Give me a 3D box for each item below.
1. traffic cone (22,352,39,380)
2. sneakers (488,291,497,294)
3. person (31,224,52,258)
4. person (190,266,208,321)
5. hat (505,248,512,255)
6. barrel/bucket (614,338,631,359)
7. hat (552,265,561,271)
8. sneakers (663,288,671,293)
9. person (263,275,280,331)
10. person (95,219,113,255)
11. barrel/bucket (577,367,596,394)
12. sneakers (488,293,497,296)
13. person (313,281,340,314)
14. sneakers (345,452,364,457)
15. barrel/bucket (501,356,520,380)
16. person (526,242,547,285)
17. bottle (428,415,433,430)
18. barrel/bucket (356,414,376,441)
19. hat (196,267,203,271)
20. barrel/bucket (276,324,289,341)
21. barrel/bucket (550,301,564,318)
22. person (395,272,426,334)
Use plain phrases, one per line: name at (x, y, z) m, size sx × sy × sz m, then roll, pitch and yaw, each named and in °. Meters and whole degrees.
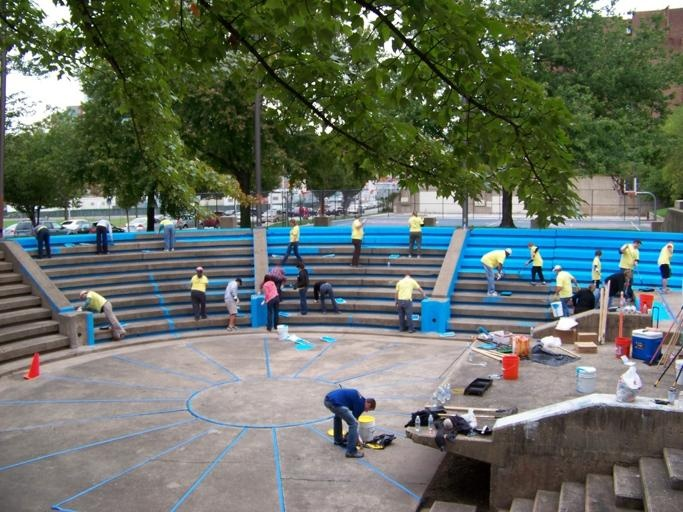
traffic cone at (-8.424, 2.806, 18.008) m, size 0.391 × 0.701 × 1.124 m, roll -6°, pitch 11°, yaw -25°
sneakers at (5.241, 1.236, 22.803) m, size 0.292 × 0.126 × 0.109 m, roll -3°, pitch 17°, yaw -1°
person at (-10.385, -0.510, 23.141) m, size 0.443 × 1.058 × 0.775 m, roll -5°, pitch 11°, yaw -24°
person at (-4.851, 1.221, 22.687) m, size 0.512 × 1.852 × 0.890 m, roll -3°, pitch 11°, yaw -13°
hat at (5.843, -0.181, 23.074) m, size 0.155 × 0.222 × 0.170 m, roll 16°, pitch 62°, yaw 50°
barrel/bucket at (6.832, 2.182, 16.000) m, size 0.356 × 0.439 × 0.365 m, roll -1°, pitch 10°, yaw 0°
hat at (7.132, 0.381, 21.770) m, size 0.248 × 0.130 × 0.347 m, roll -13°, pitch -1°, yaw 15°
sneakers at (11.038, 1.132, 22.404) m, size 0.131 × 0.170 × 0.388 m, roll 5°, pitch 11°, yaw 44°
person at (-2.383, 1.550, 22.629) m, size 0.547 × 1.964 × 0.951 m, roll -2°, pitch 11°, yaw -7°
person at (-8.790, -0.709, 24.454) m, size 0.563 × 1.180 × 0.875 m, roll -2°, pitch 11°, yaw -8°
barrel/bucket at (5.123, 2.543, 13.806) m, size 0.372 × 0.485 × 0.398 m, roll -1°, pitch 10°, yaw 0°
sneakers at (5.214, 1.285, 22.717) m, size 0.283 × 0.124 × 0.111 m, roll -1°, pitch 12°, yaw 2°
person at (-0.591, 1.274, 23.744) m, size 0.526 × 0.631 × 1.493 m, roll -6°, pitch 21°, yaw -9°
sneakers at (0.287, 3.937, 13.333) m, size 0.361 × 0.157 × 0.124 m, roll -1°, pitch -1°, yaw -4°
barrel/bucket at (3.755, 2.455, 14.805) m, size 0.446 × 0.468 × 0.451 m, roll 0°, pitch -2°, yaw 0°
person at (6.926, 0.113, 23.331) m, size 0.597 × 1.455 × 2.114 m, roll 3°, pitch 11°, yaw 18°
bottle at (1.714, 3.110, 12.561) m, size 0.103 × 0.282 × 0.243 m, roll 1°, pitch 10°, yaw 7°
barrel/bucket at (0.557, 3.591, 13.985) m, size 0.395 × 0.385 × 0.400 m, roll 0°, pitch -4°, yaw 0°
hat at (-4.942, 0.419, 23.189) m, size 0.139 × 0.089 × 0.140 m, roll 3°, pitch -1°, yaw 38°
barrel/bucket at (-1.896, 2.443, 21.706) m, size 0.394 × 0.399 × 0.415 m, roll 0°, pitch 4°, yaw 0°
barrel/bucket at (6.498, 1.560, 19.891) m, size 0.470 × 0.574 × 0.570 m, roll -3°, pitch 2°, yaw 17°
person at (2.189, 1.536, 21.947) m, size 0.644 × 1.873 × 0.627 m, roll 0°, pitch 11°, yaw 2°
